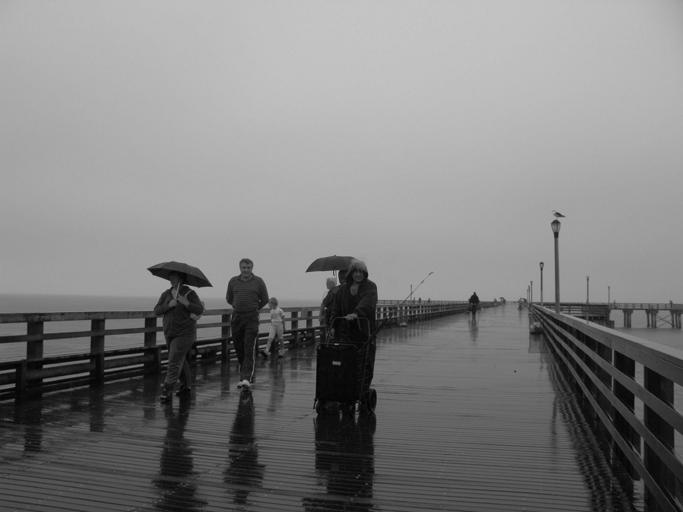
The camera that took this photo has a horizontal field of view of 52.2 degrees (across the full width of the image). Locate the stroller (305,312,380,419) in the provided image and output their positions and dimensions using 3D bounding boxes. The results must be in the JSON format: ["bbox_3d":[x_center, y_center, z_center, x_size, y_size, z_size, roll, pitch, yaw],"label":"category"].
[{"bbox_3d":[0.090,1.398,8.978,1.036,1.827,1.026,0,-6,15],"label":"stroller"}]

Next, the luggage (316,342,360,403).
[{"bbox_3d":[0.021,1.469,8.757,0.606,0.831,0.649,0,-8,4],"label":"luggage"}]

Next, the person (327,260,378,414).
[{"bbox_3d":[0.106,1.002,8.951,0.615,1.863,0.671,0,3,9],"label":"person"}]

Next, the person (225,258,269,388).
[{"bbox_3d":[-1.414,0.989,10.195,0.642,1.861,0.369,-6,-7,32],"label":"person"}]
